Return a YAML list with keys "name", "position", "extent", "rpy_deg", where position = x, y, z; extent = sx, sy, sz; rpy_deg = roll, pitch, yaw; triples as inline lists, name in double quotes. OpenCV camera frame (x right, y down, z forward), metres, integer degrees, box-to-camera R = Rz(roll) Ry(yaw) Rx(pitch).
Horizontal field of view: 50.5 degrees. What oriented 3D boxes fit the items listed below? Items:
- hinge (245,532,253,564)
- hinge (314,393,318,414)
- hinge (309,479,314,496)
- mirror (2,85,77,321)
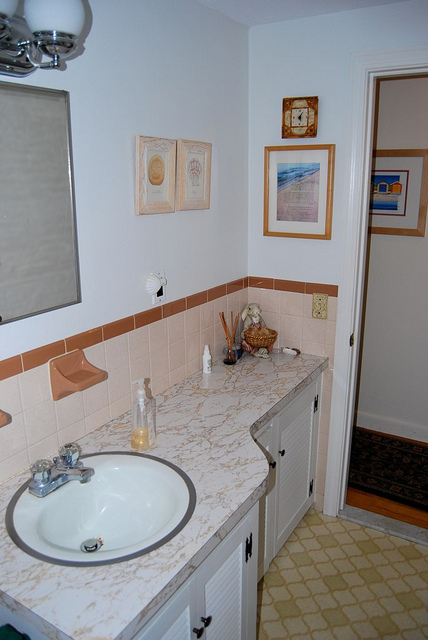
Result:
- name: "hinge"
  position: [0.100, 0.653, 1.303]
  extent: [0.010, 0.096, 0.050]
  rpy_deg: [4, 11, 24]
- name: "hinge"
  position: [0.509, 0.420, 2.273]
  extent: [0.008, 0.093, 0.064]
  rpy_deg: [5, 12, 26]
- name: "hinge"
  position: [0.515, 0.892, 2.412]
  extent: [0.012, 0.049, 0.050]
  rpy_deg: [-1, -2, 21]
- name: "mirror"
  position: [-0.460, -0.305, 1.207]
  extent: [0.084, 0.575, 0.273]
  rpy_deg: [2, 11, 13]
